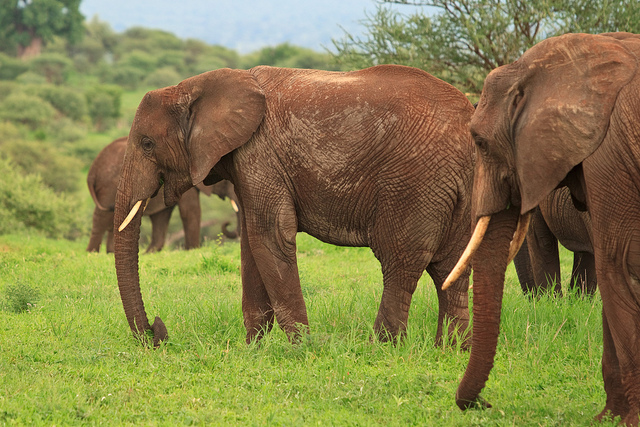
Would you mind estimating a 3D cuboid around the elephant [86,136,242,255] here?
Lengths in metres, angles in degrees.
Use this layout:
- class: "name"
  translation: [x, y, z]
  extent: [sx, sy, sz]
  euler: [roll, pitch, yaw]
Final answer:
- class: "elephant"
  translation: [-2.860, -0.333, 15.047]
  extent: [3.367, 2.201, 1.492]
  euler: [-3, 5, 22]
